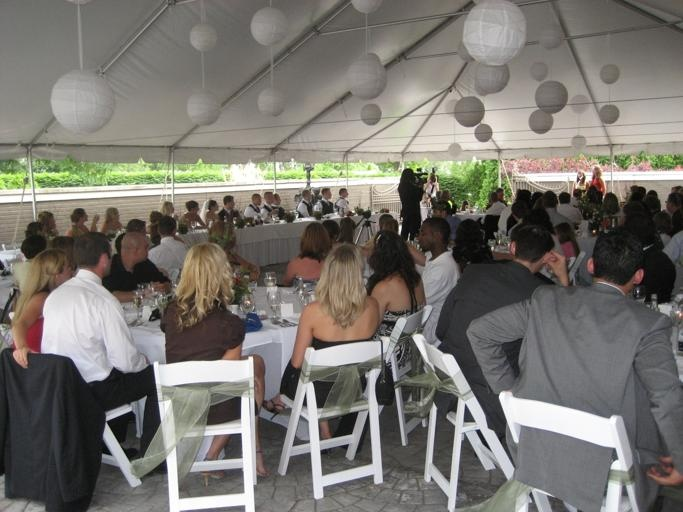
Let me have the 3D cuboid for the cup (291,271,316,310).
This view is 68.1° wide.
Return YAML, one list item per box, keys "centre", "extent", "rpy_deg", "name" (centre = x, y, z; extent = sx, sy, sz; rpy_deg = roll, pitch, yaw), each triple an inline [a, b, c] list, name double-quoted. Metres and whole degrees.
- centre: [-0.334, 0.322, 4.409]
  extent: [0.186, 0.105, 0.268]
  rpy_deg: [5, 10, 0]
  name: "cup"

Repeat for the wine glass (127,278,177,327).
- centre: [-1.535, 0.433, 4.039]
  extent: [0.290, 0.114, 0.475]
  rpy_deg: [1, 24, 0]
  name: "wine glass"

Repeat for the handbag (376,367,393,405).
- centre: [0.279, 0.877, 3.379]
  extent: [0.126, 0.259, 0.078]
  rpy_deg: [3, -12, -14]
  name: "handbag"
